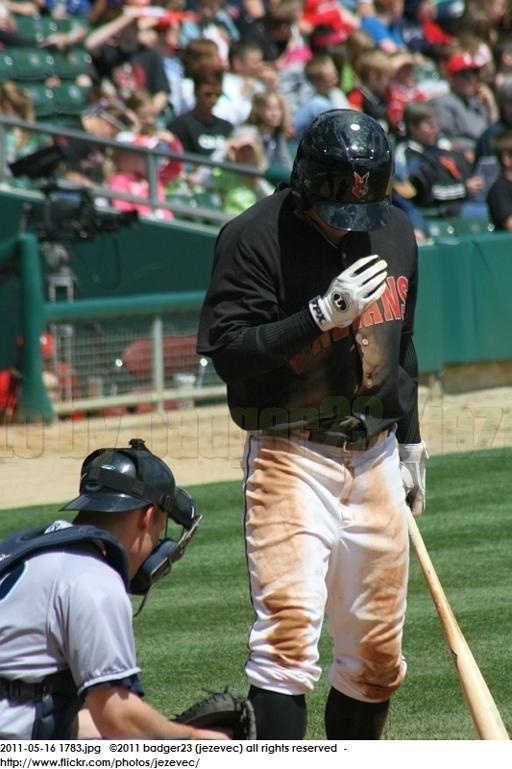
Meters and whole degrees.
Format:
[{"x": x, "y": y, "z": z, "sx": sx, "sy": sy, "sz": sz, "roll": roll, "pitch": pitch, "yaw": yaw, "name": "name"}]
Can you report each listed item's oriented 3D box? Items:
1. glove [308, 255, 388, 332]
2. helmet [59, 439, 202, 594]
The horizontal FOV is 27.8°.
[{"x": 0.223, "y": -0.190, "z": 2.271, "sx": 0.070, "sy": 0.220, "sz": 0.116, "roll": 32, "pitch": 33, "yaw": -30, "name": "glove"}, {"x": -0.280, "y": 0.252, "z": 2.173, "sx": 0.242, "sy": 0.262, "sz": 0.318, "roll": 0, "pitch": -32, "yaw": 30, "name": "helmet"}]
